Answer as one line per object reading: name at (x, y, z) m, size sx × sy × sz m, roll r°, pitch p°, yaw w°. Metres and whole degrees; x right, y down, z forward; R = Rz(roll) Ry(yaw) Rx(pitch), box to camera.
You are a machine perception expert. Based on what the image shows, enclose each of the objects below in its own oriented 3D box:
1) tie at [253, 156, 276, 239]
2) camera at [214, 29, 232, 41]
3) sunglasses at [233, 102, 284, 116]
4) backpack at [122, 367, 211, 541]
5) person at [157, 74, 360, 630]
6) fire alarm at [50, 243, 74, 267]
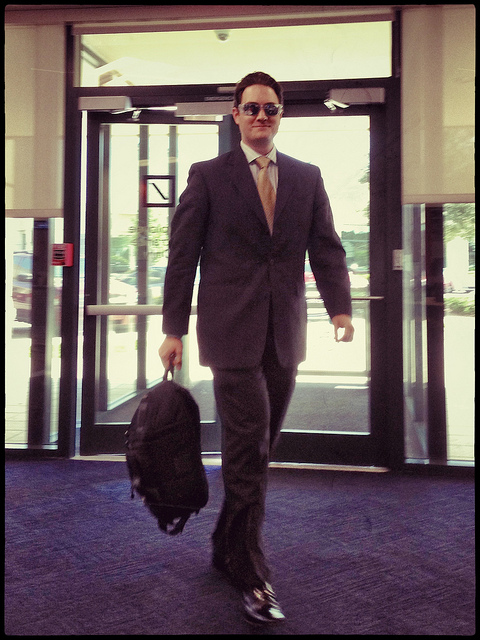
tie at (0.078, -0.397, 2.254) m, size 0.053 × 0.262 × 0.038 m, roll 0°, pitch -22°, yaw -8°
camera at (-0.092, -1.493, 3.666) m, size 0.072 × 0.027 × 0.094 m, roll 2°, pitch -1°, yaw -6°
sunglasses at (0.057, -0.688, 2.302) m, size 0.155 × 0.044 × 0.064 m, roll 0°, pitch 7°, yaw -1°
backpack at (-0.231, 0.425, 2.623) m, size 0.408 × 0.746 × 0.574 m, roll 1°, pitch 1°, yaw -9°
person at (0.058, 0.083, 2.284) m, size 0.640 × 1.760 × 0.340 m, roll -1°, pitch 7°, yaw -6°
fire alarm at (-1.028, -0.360, 4.091) m, size 0.171 × 0.154 × 0.118 m, roll 1°, pitch 0°, yaw -1°
